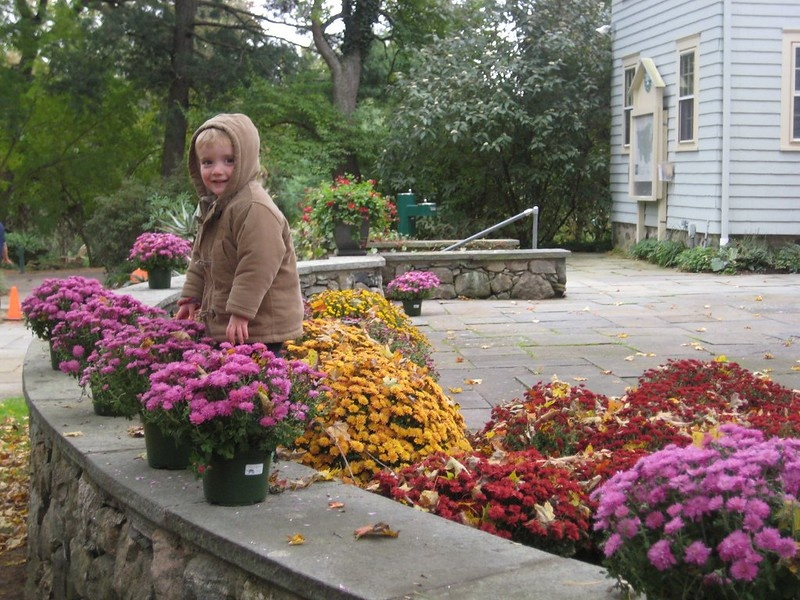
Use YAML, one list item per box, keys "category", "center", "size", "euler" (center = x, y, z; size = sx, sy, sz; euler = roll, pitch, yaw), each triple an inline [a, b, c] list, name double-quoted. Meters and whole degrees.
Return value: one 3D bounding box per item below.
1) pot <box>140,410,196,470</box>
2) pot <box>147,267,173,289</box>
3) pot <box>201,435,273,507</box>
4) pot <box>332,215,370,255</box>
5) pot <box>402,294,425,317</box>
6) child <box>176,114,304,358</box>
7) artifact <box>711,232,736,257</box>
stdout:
- category: "pot"
  center: [-0.902, 0.539, 2.837]
  size: [0.248, 0.205, 0.270]
  euler: [1, -1, 0]
- category: "pot"
  center: [-2.229, -0.217, 6.576]
  size: [0.198, 0.155, 0.193]
  euler: [0, 0, 0]
- category: "pot"
  center: [-0.582, 0.624, 2.592]
  size: [0.231, 0.166, 0.228]
  euler: [0, -4, 0]
- category: "pot"
  center: [-0.654, -0.871, 9.534]
  size: [0.549, 0.517, 0.459]
  euler: [0, 0, -6]
- category: "pot"
  center: [0.155, 0.070, 8.593]
  size: [0.238, 0.173, 0.235]
  euler: [-1, 1, 0]
- category: "child"
  center: [-0.718, -0.306, 3.101]
  size: [0.612, 1.045, 0.408]
  euler: [7, 10, 40]
- category: "artifact"
  center: [5.509, -0.951, 11.959]
  size: [0.822, 0.243, 0.204]
  euler: [-27, 7, -40]
